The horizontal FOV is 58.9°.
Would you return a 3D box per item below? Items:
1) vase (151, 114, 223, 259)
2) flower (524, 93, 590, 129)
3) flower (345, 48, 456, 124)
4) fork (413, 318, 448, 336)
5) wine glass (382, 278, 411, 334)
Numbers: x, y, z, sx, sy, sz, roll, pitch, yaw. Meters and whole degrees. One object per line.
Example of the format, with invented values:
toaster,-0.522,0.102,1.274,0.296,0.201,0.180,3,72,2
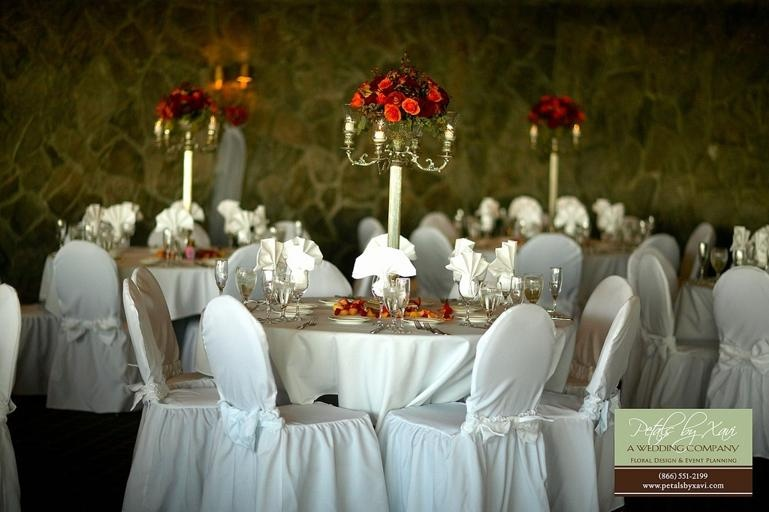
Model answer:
vase,-1.862,-0.845,6.466,0.493,1.083,0.521,3,7,44
flower,1.744,-1.456,7.150,0.375,0.293,0.506,6,6,-3
flower,0.127,-0.985,4.316,0.438,0.431,0.478,1,4,7
fork,0.250,0.425,3.984,0.058,0.071,0.437,-15,12,-16
wine glass,0.067,0.267,3.963,0.144,0.321,0.281,-3,11,0
